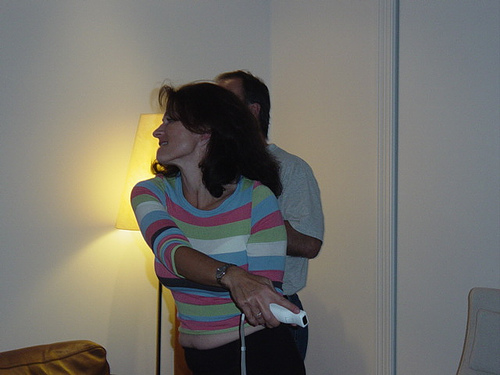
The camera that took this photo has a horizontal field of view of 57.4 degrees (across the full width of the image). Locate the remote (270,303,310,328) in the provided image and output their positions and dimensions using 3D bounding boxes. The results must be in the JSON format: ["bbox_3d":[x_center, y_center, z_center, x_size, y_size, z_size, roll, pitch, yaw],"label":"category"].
[{"bbox_3d":[0.111,0.362,1.300,0.089,0.055,0.034,26,35,16],"label":"remote"}]

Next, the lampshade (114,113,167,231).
[{"bbox_3d":[-0.518,-0.080,2.164,0.253,0.555,0.194,-4,3,-19],"label":"lampshade"}]

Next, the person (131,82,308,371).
[{"bbox_3d":[-0.102,0.137,1.515,0.556,0.976,0.426,-2,3,7],"label":"person"}]
